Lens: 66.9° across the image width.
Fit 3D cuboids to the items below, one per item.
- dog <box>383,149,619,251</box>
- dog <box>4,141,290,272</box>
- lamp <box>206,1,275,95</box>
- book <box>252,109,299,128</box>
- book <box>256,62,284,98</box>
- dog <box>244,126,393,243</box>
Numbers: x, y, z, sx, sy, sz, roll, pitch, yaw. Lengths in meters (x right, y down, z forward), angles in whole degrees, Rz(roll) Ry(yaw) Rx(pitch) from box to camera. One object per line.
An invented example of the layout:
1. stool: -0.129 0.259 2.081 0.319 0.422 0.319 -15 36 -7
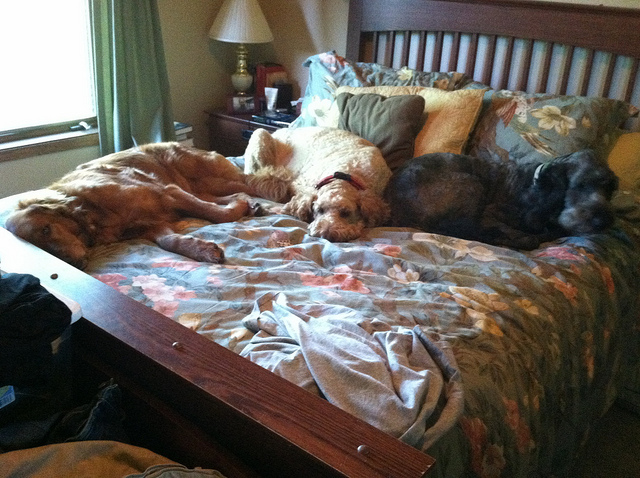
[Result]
1. dog: 0.793 -0.207 2.097 0.762 0.283 0.512 3 13 15
2. dog: -0.699 -0.128 2.106 0.655 0.274 0.837 -2 23 35
3. lamp: -0.641 -1.551 3.887 0.533 0.714 0.530 25 40 24
4. book: -0.320 -0.878 3.534 0.305 0.073 0.303 18 28 28
5. book: -0.407 -1.277 3.896 0.162 0.250 0.287 24 33 35
6. dog: 0.016 -0.322 2.317 0.541 0.265 0.770 -14 35 -26
